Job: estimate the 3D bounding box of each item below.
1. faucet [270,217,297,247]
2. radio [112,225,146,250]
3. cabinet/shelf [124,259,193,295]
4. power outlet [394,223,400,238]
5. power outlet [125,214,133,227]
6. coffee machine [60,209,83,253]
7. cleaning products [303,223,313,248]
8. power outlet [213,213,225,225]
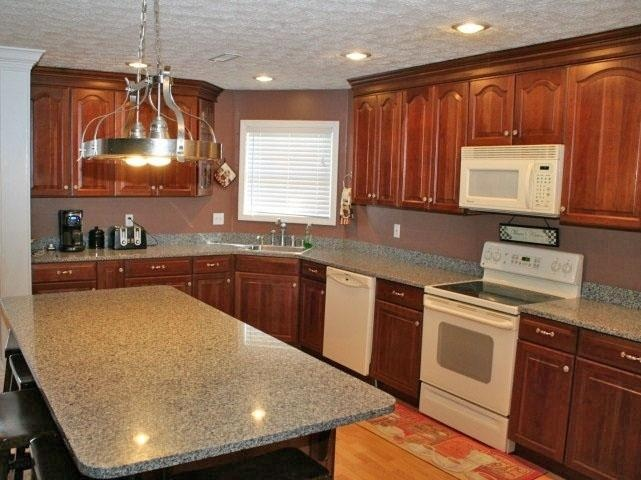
[{"bbox_3d":[-0.417,-0.084,5.554,0.356,0.296,0.189,5,11,13],"label":"faucet"},{"bbox_3d":[-1.992,-0.076,5.147,0.357,0.231,0.241,-1,3,-36],"label":"radio"},{"bbox_3d":[-1.583,0.307,4.860,0.597,0.495,0.328,-2,6,-25],"label":"cabinet/shelf"},{"bbox_3d":[0.751,-0.097,4.880,0.013,0.135,0.102,-5,14,-35],"label":"power outlet"},{"bbox_3d":[-2.055,-0.222,5.326,0.097,0.120,0.052,-2,12,-22],"label":"power outlet"},{"bbox_3d":[-2.452,-0.098,4.866,0.207,0.393,0.276,-3,12,-27],"label":"coffee machine"},{"bbox_3d":[-0.131,-0.056,5.458,0.106,0.262,0.246,2,11,-2],"label":"cleaning products"},{"bbox_3d":[-1.185,-0.257,5.718,0.143,0.127,0.033,3,4,-18],"label":"power outlet"}]
